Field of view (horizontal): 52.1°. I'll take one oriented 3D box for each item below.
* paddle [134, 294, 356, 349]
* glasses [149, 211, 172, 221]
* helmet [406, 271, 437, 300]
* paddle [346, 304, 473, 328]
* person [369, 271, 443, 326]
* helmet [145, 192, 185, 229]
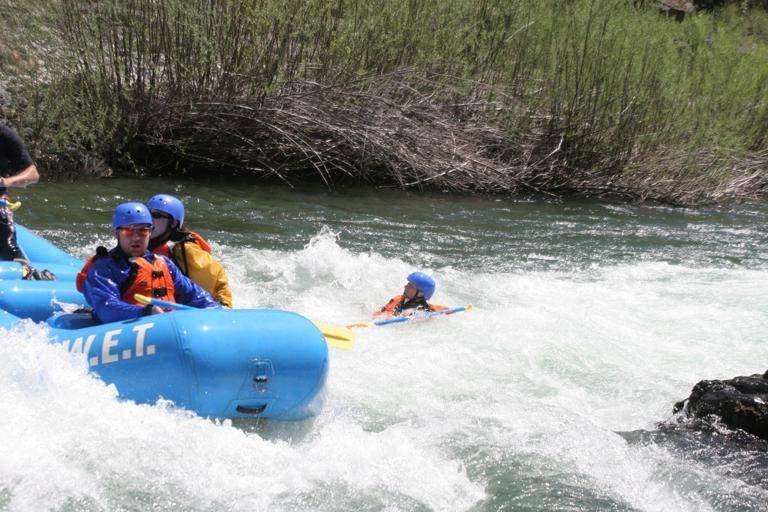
[{"bbox_3d":[-1.485,0.691,8.079,2.276,0.113,0.384,10,-10,-17],"label":"paddle"},{"bbox_3d":[-2.408,-0.429,8.407,0.212,0.145,0.053,2,12,13],"label":"glasses"},{"bbox_3d":[0.506,0.426,10.606,0.368,0.379,0.315,-31,-10,12],"label":"helmet"},{"bbox_3d":[0.347,0.806,10.249,1.625,0.150,0.158,-5,-11,-16],"label":"paddle"},{"bbox_3d":[0.373,0.567,10.463,0.986,0.435,0.569,-18,27,-16],"label":"person"},{"bbox_3d":[-2.348,-0.508,8.652,0.391,0.293,0.447,24,23,22],"label":"helmet"}]
